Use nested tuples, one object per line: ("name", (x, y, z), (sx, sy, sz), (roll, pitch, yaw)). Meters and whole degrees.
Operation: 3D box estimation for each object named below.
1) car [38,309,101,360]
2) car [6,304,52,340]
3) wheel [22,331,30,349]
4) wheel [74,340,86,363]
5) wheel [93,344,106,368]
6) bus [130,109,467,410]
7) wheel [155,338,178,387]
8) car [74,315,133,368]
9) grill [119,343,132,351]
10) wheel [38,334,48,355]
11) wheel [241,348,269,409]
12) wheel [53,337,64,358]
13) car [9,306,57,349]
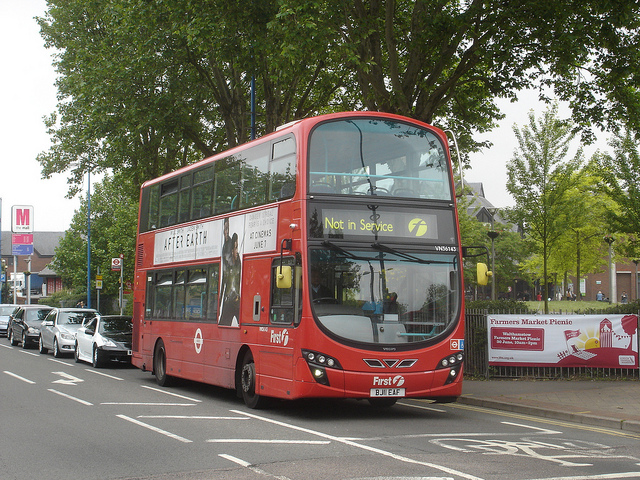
("car", (-10.958, 3.894, 26.438), (1.912, 1.465, 4.262), (2, -8, -25))
("car", (-14.951, 4.264, 31.979), (2.418, 2.842, 2.216), (2, -4, -34))
("wheel", (-14.783, 5.012, 31.298), (0.251, 0.846, 0.800), (3, -9, -17))
("wheel", (-8.863, 4.115, 23.031), (0.301, 0.867, 0.808), (8, -10, -31))
("wheel", (-7.641, 3.968, 21.502), (0.262, 0.824, 0.767), (6, 3, -21))
("bus", (-1.744, 0.782, 16.271), (3.725, 5.768, 11.727), (3, -6, -29))
("wheel", (-4.111, 3.291, 16.736), (0.378, 1.299, 1.199), (1, 9, -24))
("car", (-7.678, 3.572, 22.136), (1.918, 2.341, 1.835), (3, -5, -35))
("grill", (-6.708, 3.684, 21.621), (0.284, 0.163, 0.416), (5, -6, -25))
("wheel", (-12.399, 4.675, 27.894), (0.315, 1.072, 1.006), (4, -7, -21))
("wheel", (-1.286, 2.836, 12.798), (0.502, 1.292, 0.462), (-2, -3, 0))
("wheel", (-10.792, 4.423, 25.710), (0.245, 0.833, 0.785), (2, -7, -17))
("car", (-15.025, 4.499, 32.007), (1.976, 2.015, 4.498), (3, -6, -38))
